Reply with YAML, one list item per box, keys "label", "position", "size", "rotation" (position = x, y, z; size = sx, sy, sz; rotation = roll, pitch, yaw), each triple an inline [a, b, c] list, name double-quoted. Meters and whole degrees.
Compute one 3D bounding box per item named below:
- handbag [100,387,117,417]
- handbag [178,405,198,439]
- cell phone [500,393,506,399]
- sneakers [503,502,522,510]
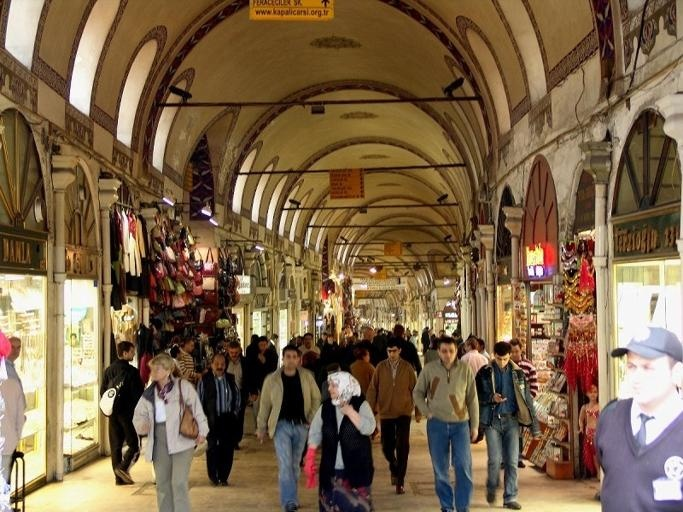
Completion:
- label: "handbag"
  position: [-3.211, 1.999, 8.518]
  size: [0.187, 0.388, 0.086]
  rotation: [3, 0, 15]
- label: "handbag"
  position: [-1.568, 1.677, 6.387]
  size: [0.084, 0.317, 0.285]
  rotation: [2, -17, 27]
- label: "cell phone"
  position: [1.911, 1.673, 7.386]
  size: [0.032, 0.044, 0.119]
  rotation: [4, -3, 35]
- label: "sneakers"
  position: [2.022, 2.922, 7.319]
  size: [0.087, 0.080, 0.163]
  rotation: [2, -10, -44]
